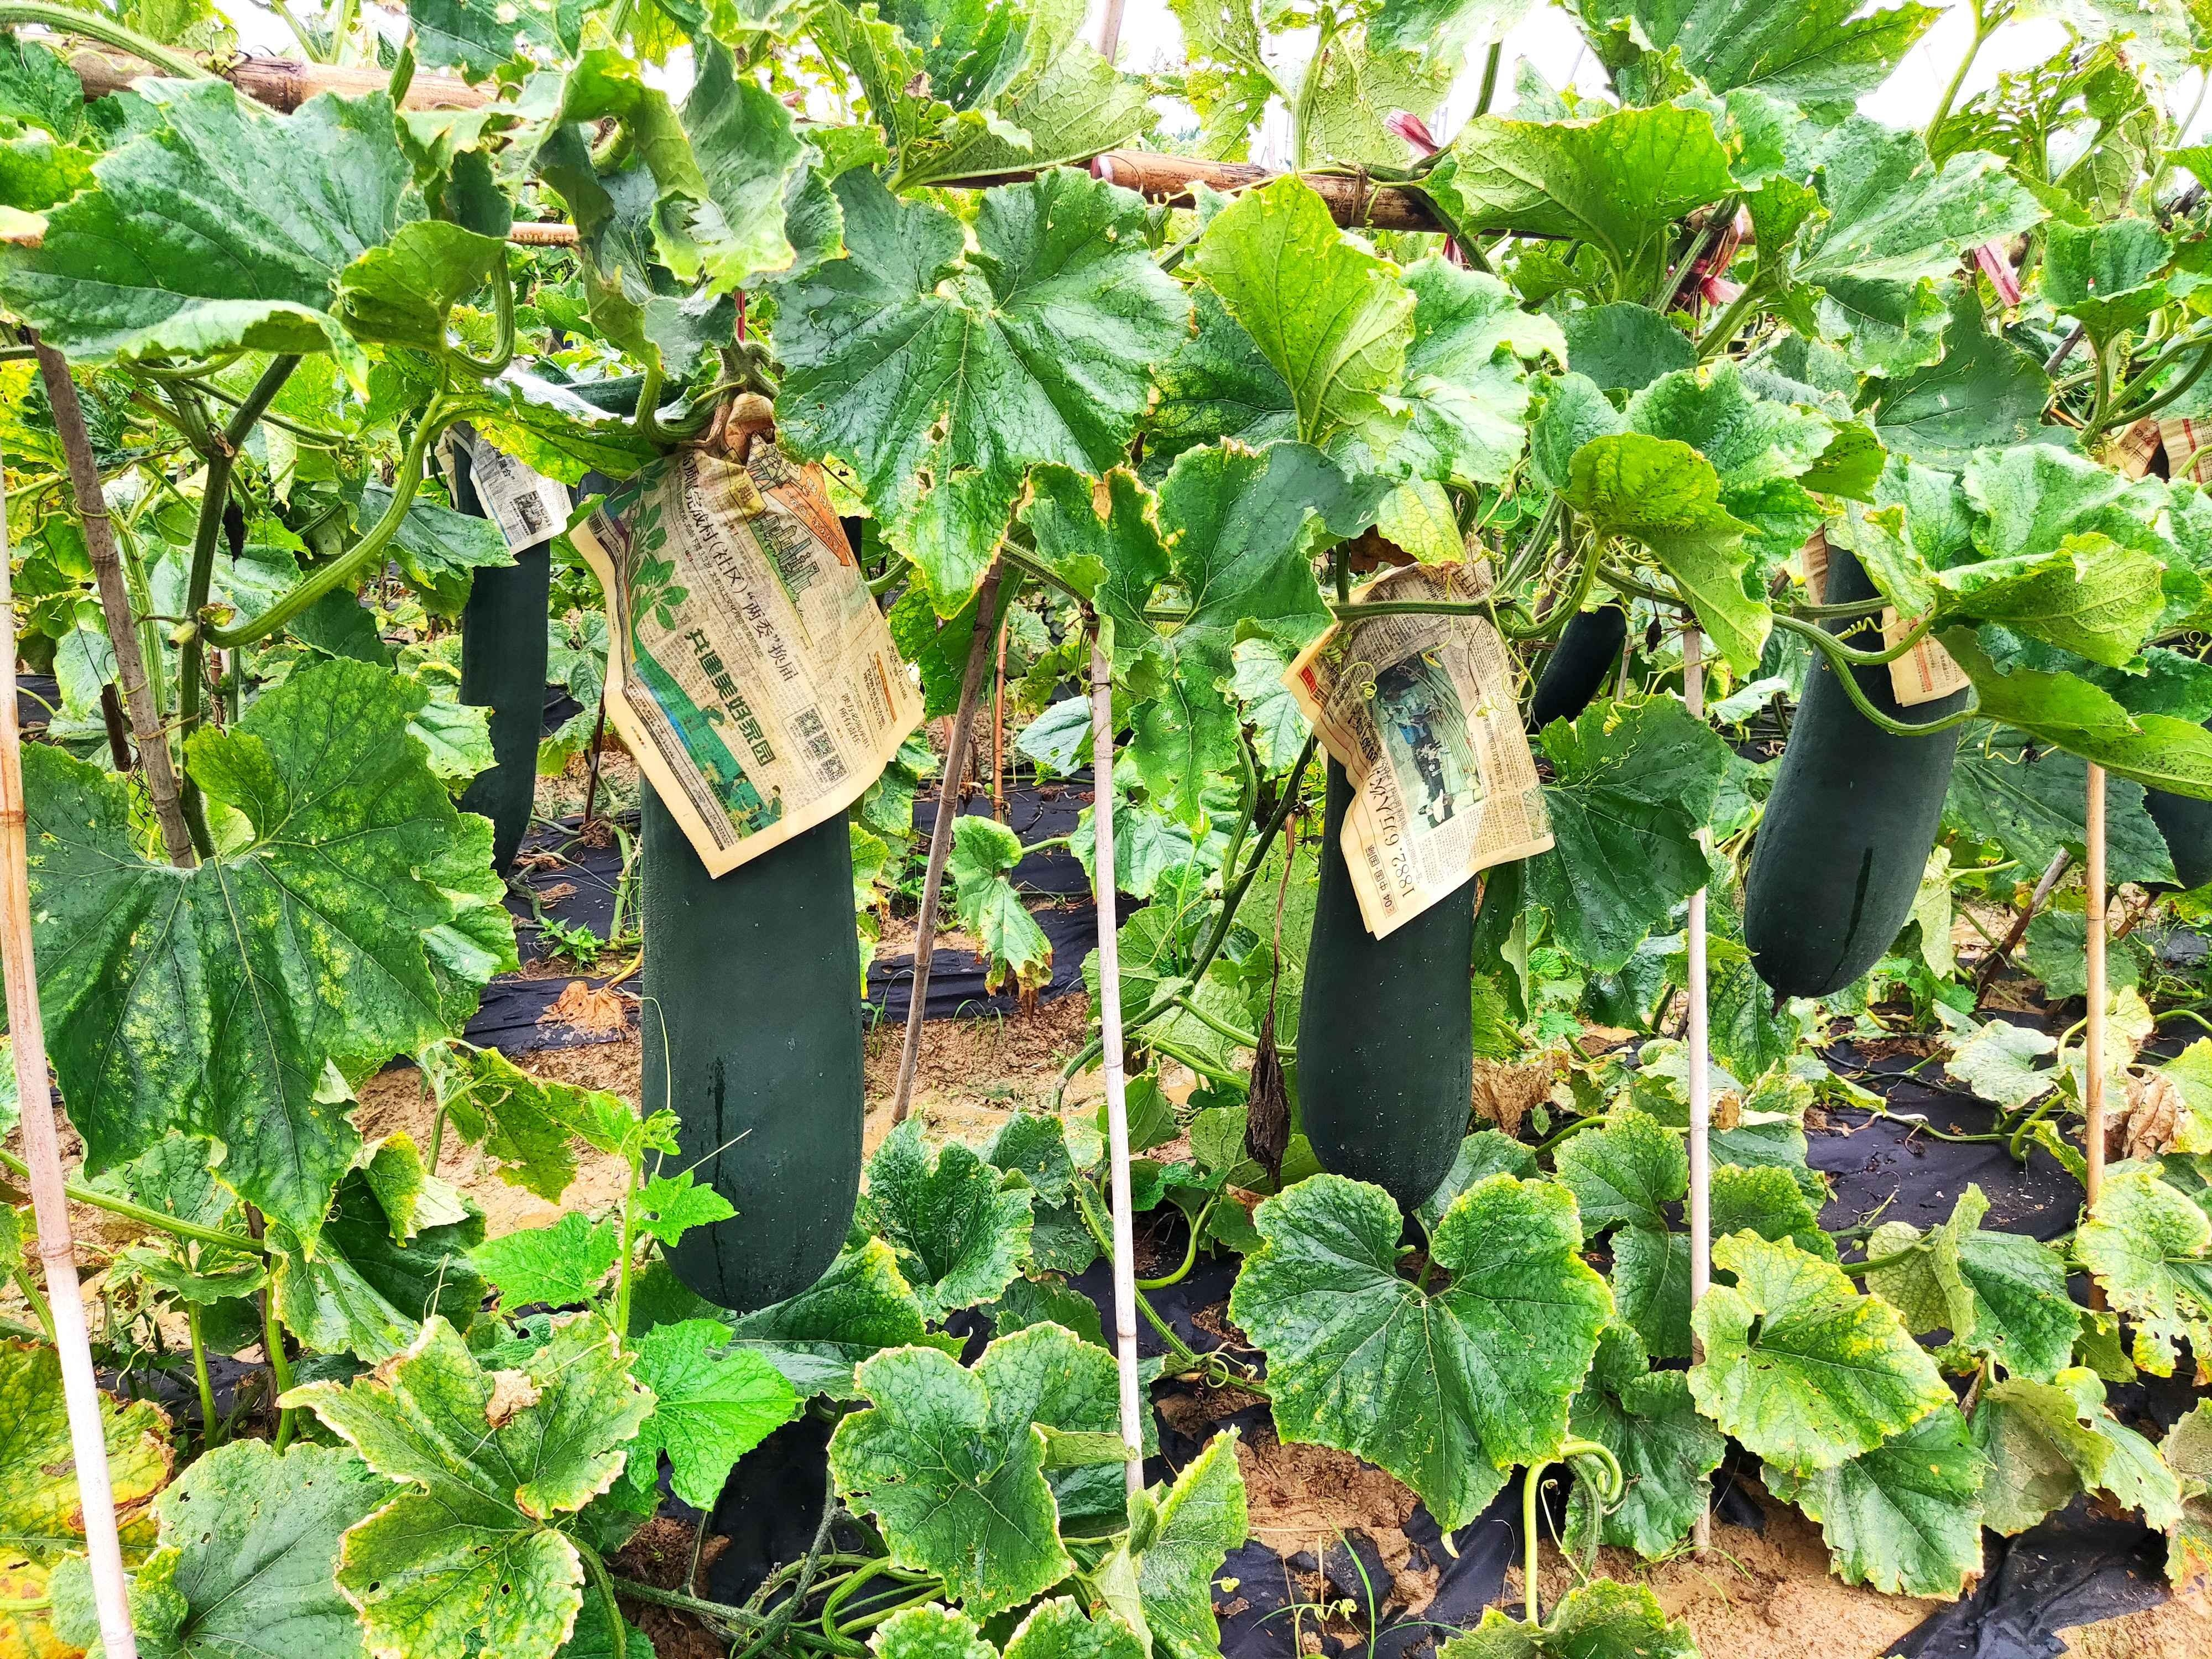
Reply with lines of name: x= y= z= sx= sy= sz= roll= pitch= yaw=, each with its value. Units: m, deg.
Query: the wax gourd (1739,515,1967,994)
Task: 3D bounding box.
wax gourd: x=1.181 y=-0.046 z=3.110 sx=0.234 sy=0.855 sz=0.232 roll=10 pitch=10 yaw=11

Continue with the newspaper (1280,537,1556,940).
newspaper: x=0.422 y=-0.115 z=2.673 sx=0.348 sy=0.482 sz=0.123 roll=-20 pitch=3 yaw=-9

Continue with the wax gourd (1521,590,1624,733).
wax gourd: x=0.766 y=-0.277 z=3.227 sx=0.096 sy=0.067 sz=0.297 roll=26 pitch=-49 yaw=-6

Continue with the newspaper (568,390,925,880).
newspaper: x=-0.447 y=-0.205 z=2.381 sx=0.459 sy=0.508 sz=0.143 roll=-30 pitch=10 yaw=-21
